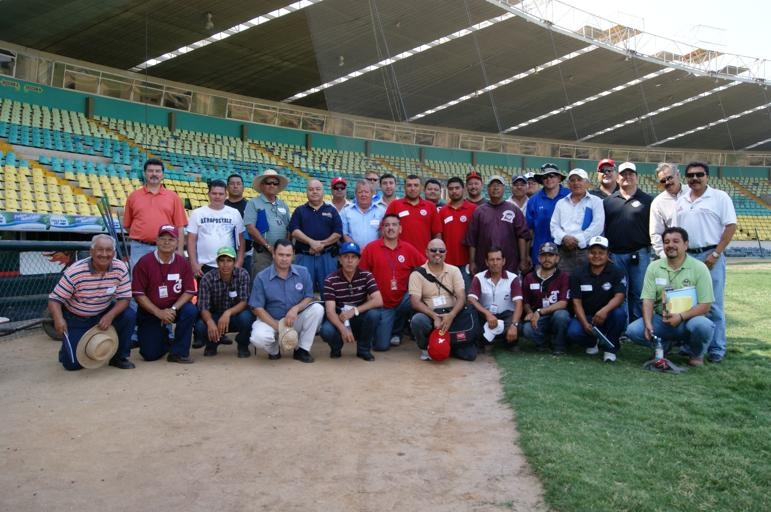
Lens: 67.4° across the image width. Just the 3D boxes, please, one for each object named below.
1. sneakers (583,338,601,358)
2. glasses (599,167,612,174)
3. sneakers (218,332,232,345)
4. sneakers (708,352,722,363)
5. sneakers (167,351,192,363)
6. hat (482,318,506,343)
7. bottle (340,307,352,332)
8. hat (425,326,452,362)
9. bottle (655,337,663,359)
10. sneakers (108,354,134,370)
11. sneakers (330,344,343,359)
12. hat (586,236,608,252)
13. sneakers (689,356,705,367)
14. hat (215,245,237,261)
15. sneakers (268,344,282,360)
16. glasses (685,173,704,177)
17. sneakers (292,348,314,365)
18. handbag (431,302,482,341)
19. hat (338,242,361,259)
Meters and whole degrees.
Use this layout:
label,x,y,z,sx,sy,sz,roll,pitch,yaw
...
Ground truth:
label,x,y,z,sx,sy,sz,roll,pitch,yaw
sneakers,2.960,1.318,8.308,0.193,0.190,0.484,-6,-17,24
glasses,3.460,-1.342,9.101,0.097,0.029,0.095,-3,-41,27
sneakers,-2.485,1.295,8.969,0.144,0.145,0.241,5,-17,-25
sneakers,4.370,1.350,7.667,0.187,0.092,0.201,5,12,26
sneakers,-2.803,1.411,7.959,0.389,0.156,0.125,-1,-7,3
hat,1.574,1.077,8.488,0.365,0.196,0.280,-28,23,10
bottle,-0.553,0.872,8.306,0.254,0.263,0.084,-1,1,-42
hat,0.756,1.259,8.097,0.339,0.491,0.309,-2,12,-7
bottle,3.582,1.198,7.589,0.105,0.263,0.255,4,12,20
sneakers,-3.483,1.432,7.702,0.397,0.151,0.152,1,-6,6
sneakers,-0.711,1.377,8.324,0.099,0.184,0.276,4,3,3
hat,3.017,-0.187,8.207,0.235,0.176,0.313,2,11,13
sneakers,4.080,1.386,7.580,0.154,0.105,0.066,-4,6,-7
hat,-2.277,-0.029,8.202,0.229,0.113,0.330,-1,-7,-8
sneakers,-1.542,1.367,8.173,0.166,0.239,0.254,2,-35,-2
glasses,4.193,-1.092,7.812,0.231,0.092,0.124,5,12,25
sneakers,-1.163,1.404,8.179,0.361,0.142,0.131,0,-3,32
handbag,0.958,0.894,8.388,0.804,0.687,0.410,-9,-9,-2
hat,-0.506,-0.084,8.205,0.268,0.213,0.211,-3,11,-14
